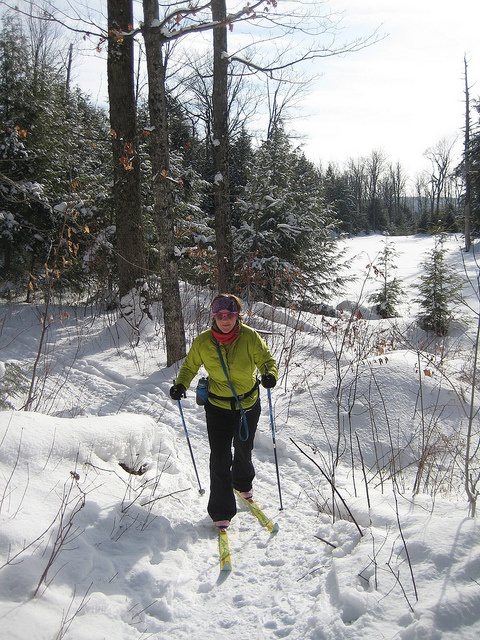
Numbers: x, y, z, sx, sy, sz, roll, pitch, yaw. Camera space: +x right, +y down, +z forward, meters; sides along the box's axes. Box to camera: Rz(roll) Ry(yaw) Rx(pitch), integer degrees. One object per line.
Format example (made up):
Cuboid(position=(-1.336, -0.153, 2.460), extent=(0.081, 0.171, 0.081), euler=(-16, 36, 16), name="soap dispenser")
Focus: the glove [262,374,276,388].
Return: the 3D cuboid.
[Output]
Cuboid(position=(0.218, 0.484, 4.414), extent=(0.093, 0.104, 0.097), euler=(-18, 11, -14), name="glove")
